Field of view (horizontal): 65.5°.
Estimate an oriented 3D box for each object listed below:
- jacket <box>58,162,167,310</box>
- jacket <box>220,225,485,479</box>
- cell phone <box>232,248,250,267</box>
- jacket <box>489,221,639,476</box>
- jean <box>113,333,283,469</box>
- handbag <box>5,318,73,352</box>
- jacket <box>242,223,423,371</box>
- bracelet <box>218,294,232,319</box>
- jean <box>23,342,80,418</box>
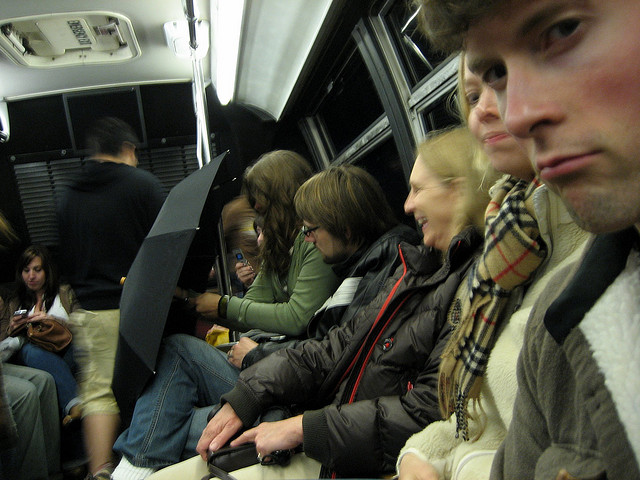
[{"bbox_3d":[-1.129,0.032,2.737,0.633,0.852,0.550,-3,-15,2],"label":"jacket"},{"bbox_3d":[0.190,0.460,1.815,0.950,0.546,0.725,-29,5,-3],"label":"jacket"},{"bbox_3d":[-0.671,0.148,4.217,0.038,0.145,0.144,-26,-2,-33],"label":"cell phone"},{"bbox_3d":[0.424,0.223,0.878,0.109,0.421,0.294,4,5,-25],"label":"jacket"},{"bbox_3d":[-0.523,0.620,2.167,0.660,0.328,0.382,-20,4,-32],"label":"jean"},{"bbox_3d":[-1.618,0.549,2.926,0.337,0.172,0.195,10,13,-14],"label":"handbag"},{"bbox_3d":[-0.081,0.161,2.507,0.934,0.423,0.663,-16,3,12],"label":"jacket"},{"bbox_3d":[-0.528,0.373,2.778,0.036,0.112,0.078,5,17,-2],"label":"bracelet"},{"bbox_3d":[-1.584,0.825,2.919,0.369,0.383,0.114,7,5,5],"label":"jean"}]
